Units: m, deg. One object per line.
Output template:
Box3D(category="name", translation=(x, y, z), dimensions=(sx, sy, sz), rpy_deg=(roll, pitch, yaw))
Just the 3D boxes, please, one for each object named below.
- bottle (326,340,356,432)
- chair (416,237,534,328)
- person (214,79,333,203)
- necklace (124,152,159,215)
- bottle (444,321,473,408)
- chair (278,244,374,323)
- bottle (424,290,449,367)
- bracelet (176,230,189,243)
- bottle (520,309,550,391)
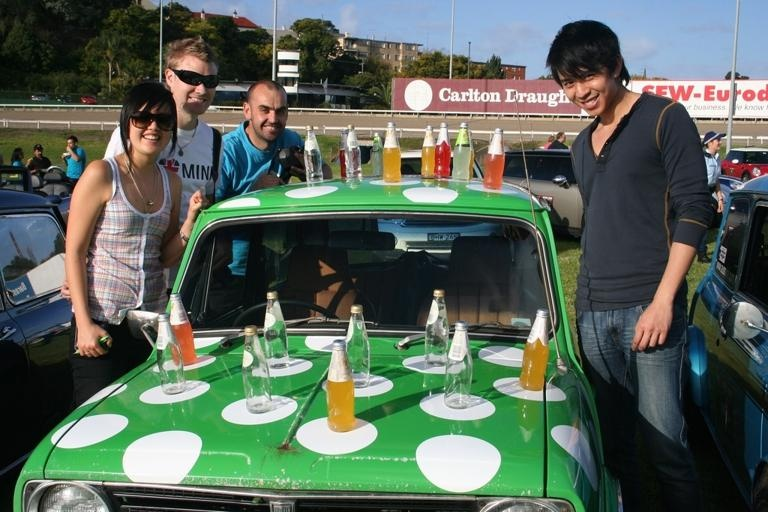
Box3D(category="bottle", translation=(-0.215, 0.614, 2.918), dimensions=(0.140, 0.406, 0.225), rpy_deg=(-2, 13, -5))
Box3D(category="chair", translation=(0.707, 0.103, 3.965), dimensions=(0.535, 0.615, 0.368), rpy_deg=(1, 4, 9))
Box3D(category="person", translation=(-1.108, -0.962, 5.467), dimensions=(1.363, 1.256, 0.783), rpy_deg=(-11, 20, -39))
Box3D(category="necklace", translation=(-1.539, -0.469, 3.783), dimensions=(0.155, 0.360, 0.084), rpy_deg=(-9, 10, -8))
Box3D(category="bottle", translation=(0.379, 0.545, 3.084), dimensions=(0.141, 0.386, 0.253), rpy_deg=(1, 14, 9))
Box3D(category="chair", translation=(-0.401, 0.158, 4.186), dimensions=(0.407, 0.538, 0.582), rpy_deg=(3, 0, 10))
Box3D(category="bottle", translation=(0.299, 0.408, 3.431), dimensions=(0.137, 0.479, 0.145), rpy_deg=(1, 23, 0))
Box3D(category="bracelet", translation=(-1.301, -0.121, 3.890), dimensions=(0.036, 0.078, 0.060), rpy_deg=(-38, -6, -28))
Box3D(category="bottle", translation=(0.822, 0.485, 3.172), dimensions=(0.242, 0.394, 0.136), rpy_deg=(-13, 17, -40))
